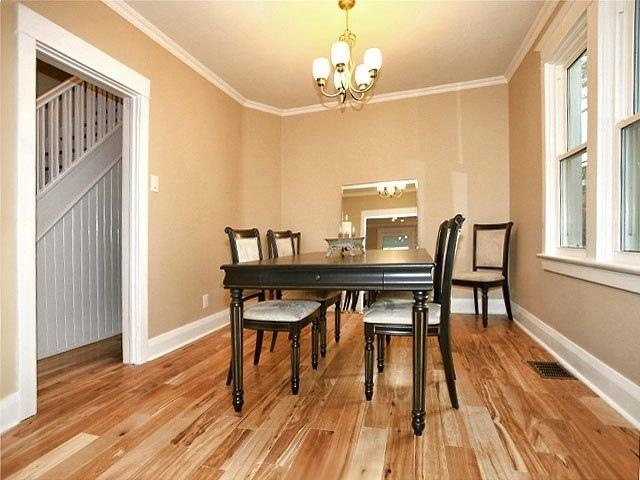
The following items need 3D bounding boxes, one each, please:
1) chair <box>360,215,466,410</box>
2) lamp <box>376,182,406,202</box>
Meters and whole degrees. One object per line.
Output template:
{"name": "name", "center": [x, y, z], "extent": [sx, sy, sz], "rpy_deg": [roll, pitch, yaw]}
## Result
{"name": "chair", "center": [0.675, 0.540, 4.068], "extent": [1.048, 2.024, 1.160], "rpy_deg": [1, -2, 13]}
{"name": "lamp", "center": [0.846, -0.598, 5.571], "extent": [0.268, 0.144, 0.187], "rpy_deg": [0, -2, 3]}
